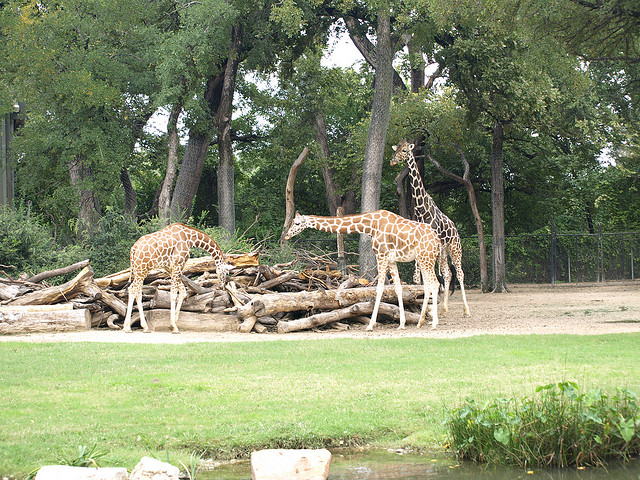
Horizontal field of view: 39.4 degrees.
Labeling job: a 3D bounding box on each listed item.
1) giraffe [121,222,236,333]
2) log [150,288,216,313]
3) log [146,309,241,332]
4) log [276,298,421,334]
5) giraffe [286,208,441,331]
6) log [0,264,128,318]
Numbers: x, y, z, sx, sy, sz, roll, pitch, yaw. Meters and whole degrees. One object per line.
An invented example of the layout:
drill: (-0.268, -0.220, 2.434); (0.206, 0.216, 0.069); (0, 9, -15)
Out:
giraffe: (-4.142, 1.066, 25.128); (2.824, 2.859, 1.030); (-5, 14, -22)
log: (-3.943, 1.758, 25.642); (1.277, 0.547, 0.783); (3, -4, -13)
log: (-3.613, 2.329, 25.544); (1.678, 0.449, 1.075); (2, -3, -6)
log: (0.658, 2.205, 25.951); (3.467, 0.756, 0.546); (-5, 15, -23)
giraffe: (1.695, 0.861, 26.113); (3.579, 3.396, 2.195); (1, 13, 1)
log: (-7.425, 1.526, 25.787); (3.503, 1.685, 0.538); (10, -15, -11)
